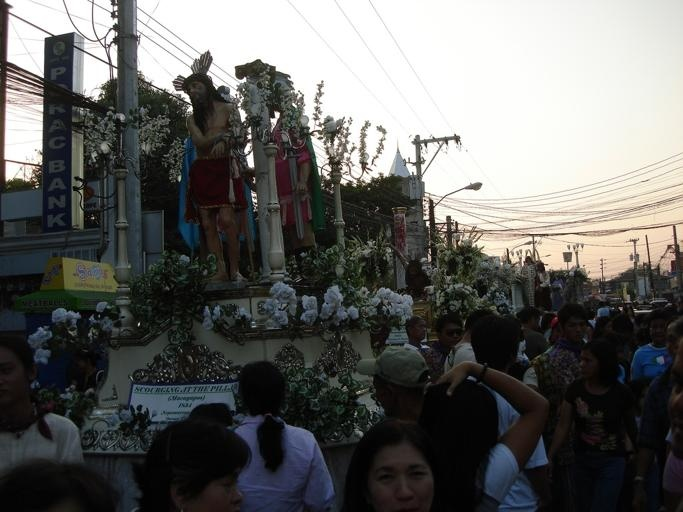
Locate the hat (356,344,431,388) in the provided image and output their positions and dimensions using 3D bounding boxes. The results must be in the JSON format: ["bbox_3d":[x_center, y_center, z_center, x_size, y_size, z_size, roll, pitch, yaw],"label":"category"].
[{"bbox_3d":[0.341,0.765,4.523,0.400,0.215,0.266,16,16,29],"label":"hat"}]
